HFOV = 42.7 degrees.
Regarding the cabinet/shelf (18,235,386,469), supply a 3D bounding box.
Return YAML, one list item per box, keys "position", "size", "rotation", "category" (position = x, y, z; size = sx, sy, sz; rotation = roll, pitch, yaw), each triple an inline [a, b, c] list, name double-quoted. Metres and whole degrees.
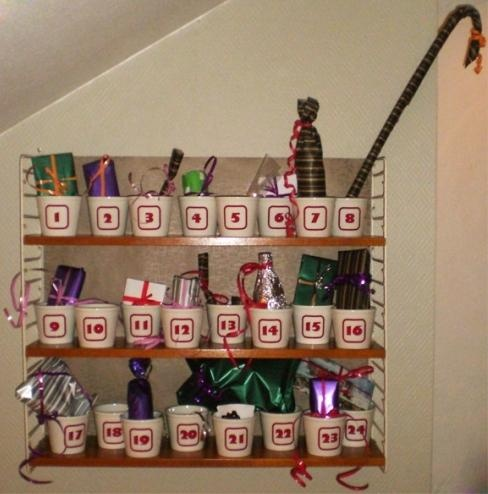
- position: [-0.127, 0.305, 1.840]
  size: [0.784, 0.455, 0.234]
  rotation: [1, -7, 0]
  category: "cabinet/shelf"
